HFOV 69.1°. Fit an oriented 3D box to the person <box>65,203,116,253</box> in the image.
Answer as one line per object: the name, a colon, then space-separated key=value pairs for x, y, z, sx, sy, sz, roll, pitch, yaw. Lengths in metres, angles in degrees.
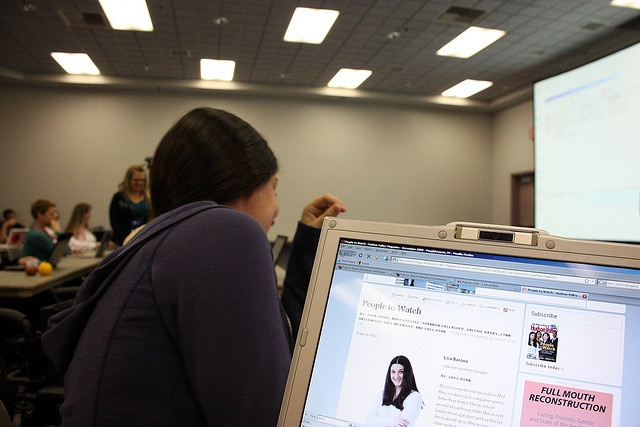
person: x=-3.012 y=0.179 z=5.991 sx=0.539 sy=0.726 sz=0.482 roll=1 pitch=20 yaw=-36

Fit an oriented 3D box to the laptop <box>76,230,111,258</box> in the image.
laptop: x=-2.399 y=0.324 z=4.960 sx=0.273 sy=0.264 sz=0.376 roll=17 pitch=-2 yaw=-4

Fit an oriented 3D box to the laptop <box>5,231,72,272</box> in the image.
laptop: x=-2.412 y=0.352 z=3.969 sx=0.405 sy=0.263 sz=0.434 roll=5 pitch=-4 yaw=-1
